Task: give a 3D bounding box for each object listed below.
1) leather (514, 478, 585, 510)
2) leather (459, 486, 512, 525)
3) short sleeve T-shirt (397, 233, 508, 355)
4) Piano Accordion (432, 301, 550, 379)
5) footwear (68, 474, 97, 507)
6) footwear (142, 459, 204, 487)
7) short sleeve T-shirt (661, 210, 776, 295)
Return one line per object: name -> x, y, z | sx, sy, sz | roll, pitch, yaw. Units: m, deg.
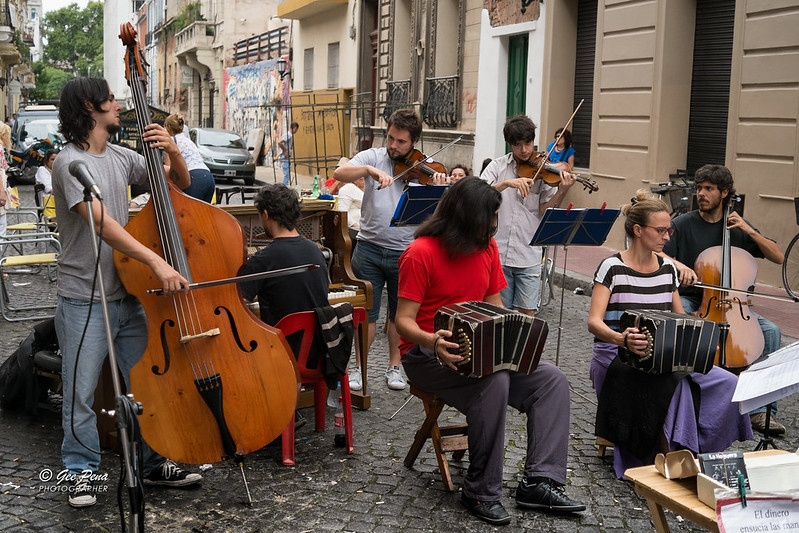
leather -> 0.968, 1.513, 4.698 | 0.500, 0.244, 0.184 | 2, 0, 3
leather -> 0.568, 1.580, 4.641 | 0.337, 0.152, 0.122 | 2, 4, 41
short sleeve T-shirt -> 0.351, 0.196, 4.792 | 0.742, 0.756, 0.407 | -2, 21, -36
Piano Accordion -> 0.611, 0.471, 4.606 | 0.523, 0.340, 0.511 | 8, 4, -31
footwear -> -2.098, 1.464, 4.593 | 0.166, 0.208, 0.123 | -6, 15, -28
footwear -> -1.584, 1.444, 4.914 | 0.458, 0.189, 0.175 | 1, 2, 1
short sleeve T-shirt -> 2.707, -0.247, 6.357 | 0.537, 1.041, 0.357 | 0, -7, -7
